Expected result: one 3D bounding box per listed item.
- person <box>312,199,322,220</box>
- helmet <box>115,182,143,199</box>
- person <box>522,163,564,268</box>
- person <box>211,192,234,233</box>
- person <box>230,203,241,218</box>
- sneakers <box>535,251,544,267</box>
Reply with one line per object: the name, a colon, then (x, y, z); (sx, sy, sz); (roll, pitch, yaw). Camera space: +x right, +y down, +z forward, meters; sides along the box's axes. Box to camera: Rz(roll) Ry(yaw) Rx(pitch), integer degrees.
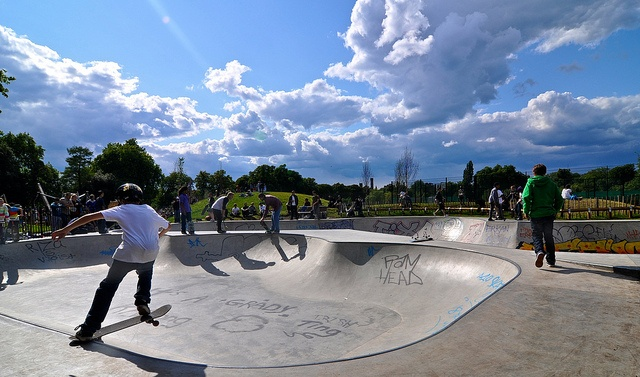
person: (-0.192, 1.248, 22.660); (0.486, 1.354, 1.336); (-1, 6, -1)
helmet: (-4.048, 0.057, 7.715); (0.381, 0.447, 0.463); (13, 4, -45)
person: (5.720, 0.683, 9.381); (0.873, 2.597, 1.243); (4, 8, 33)
person: (-4.006, 0.915, 14.847); (0.932, 1.589, 0.600); (4, -1, -22)
person: (-6.184, 1.632, 26.557); (0.911, 0.860, 0.541); (4, 0, 4)
sneakers: (5.440, 1.776, 9.008); (0.184, 0.386, 0.167); (3, 8, 20)
